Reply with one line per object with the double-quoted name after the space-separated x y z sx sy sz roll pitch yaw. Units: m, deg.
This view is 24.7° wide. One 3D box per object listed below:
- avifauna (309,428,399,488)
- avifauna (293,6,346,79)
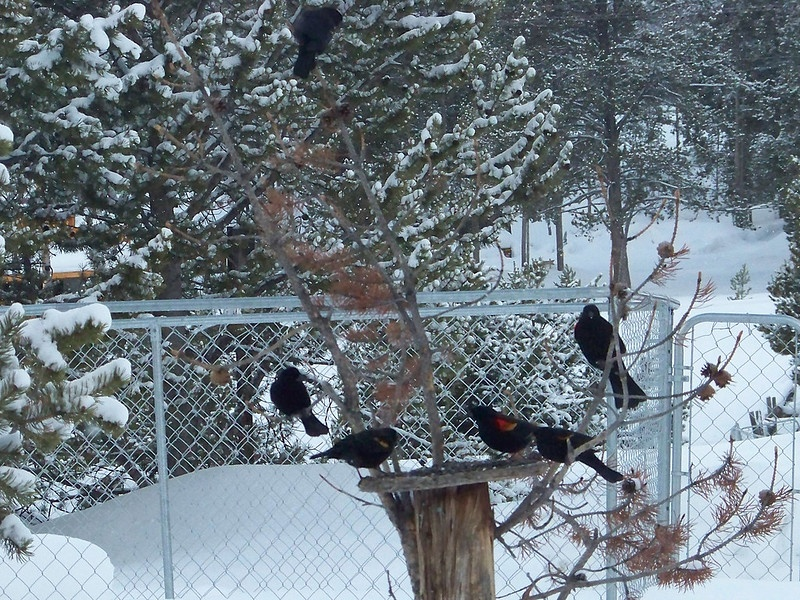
-0.451 1.585 19.466 1.029 0.494 0.375 9 1 -2 "avifauna"
-0.896 -2.733 19.425 0.604 0.717 0.287 -13 17 -27 "avifauna"
